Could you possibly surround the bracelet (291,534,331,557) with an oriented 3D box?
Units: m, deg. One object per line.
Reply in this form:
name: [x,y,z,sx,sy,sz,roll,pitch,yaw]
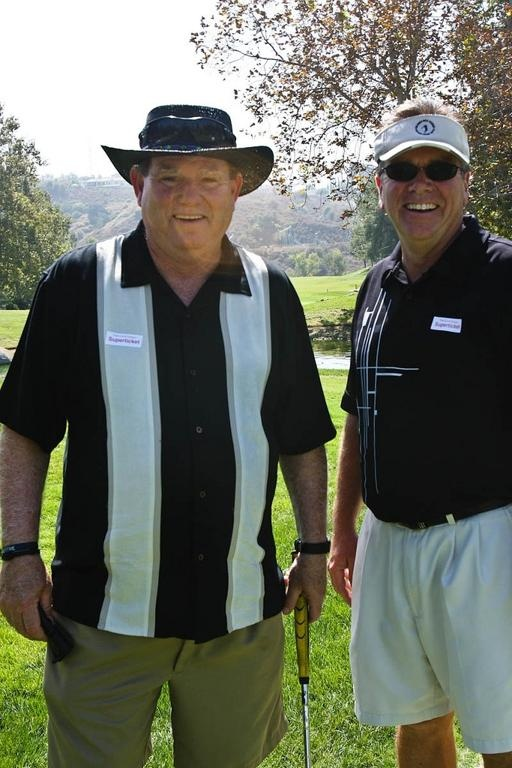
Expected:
bracelet: [0.202,0.600,2.578,0.100,0.047,0.072,2,-6,5]
